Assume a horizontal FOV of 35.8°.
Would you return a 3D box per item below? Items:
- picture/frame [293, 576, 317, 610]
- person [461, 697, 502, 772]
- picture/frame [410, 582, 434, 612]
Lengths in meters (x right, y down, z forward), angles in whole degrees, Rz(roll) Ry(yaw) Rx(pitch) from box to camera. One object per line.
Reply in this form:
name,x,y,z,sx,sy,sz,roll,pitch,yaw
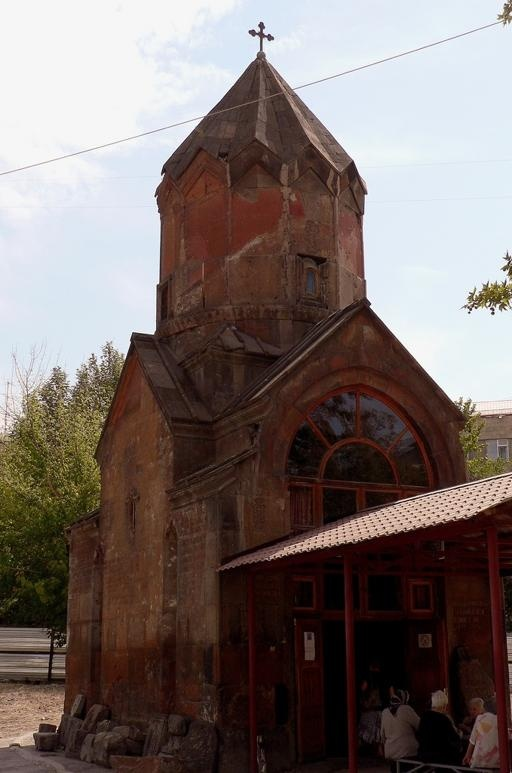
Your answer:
picture/frame,0.843,3.576,13.732,0.153,0.549,0.484,-17,-23,41
person,2.305,3.602,8.165,0.353,0.658,1.029,-5,-18,13
picture/frame,3.081,3.909,14.760,0.616,0.574,0.105,14,-22,-38
